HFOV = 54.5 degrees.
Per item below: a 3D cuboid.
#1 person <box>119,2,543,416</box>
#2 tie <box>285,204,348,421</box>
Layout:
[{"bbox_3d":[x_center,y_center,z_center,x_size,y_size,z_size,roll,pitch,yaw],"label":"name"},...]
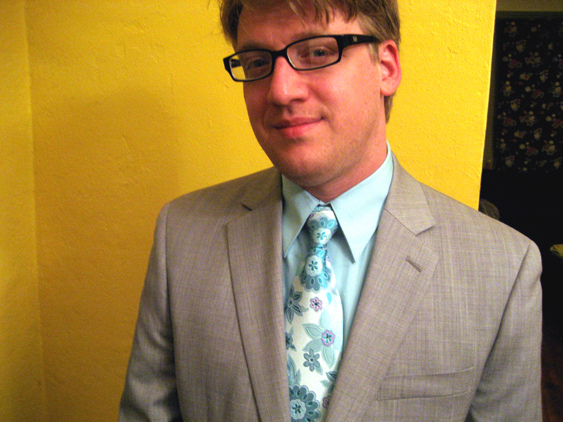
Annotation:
[{"bbox_3d":[0.127,-0.016,1.761,1.287,1.395,0.485,-6,-8,18],"label":"person"},{"bbox_3d":[0.103,0.302,1.652,0.184,0.649,0.076,-3,-8,3],"label":"tie"}]
